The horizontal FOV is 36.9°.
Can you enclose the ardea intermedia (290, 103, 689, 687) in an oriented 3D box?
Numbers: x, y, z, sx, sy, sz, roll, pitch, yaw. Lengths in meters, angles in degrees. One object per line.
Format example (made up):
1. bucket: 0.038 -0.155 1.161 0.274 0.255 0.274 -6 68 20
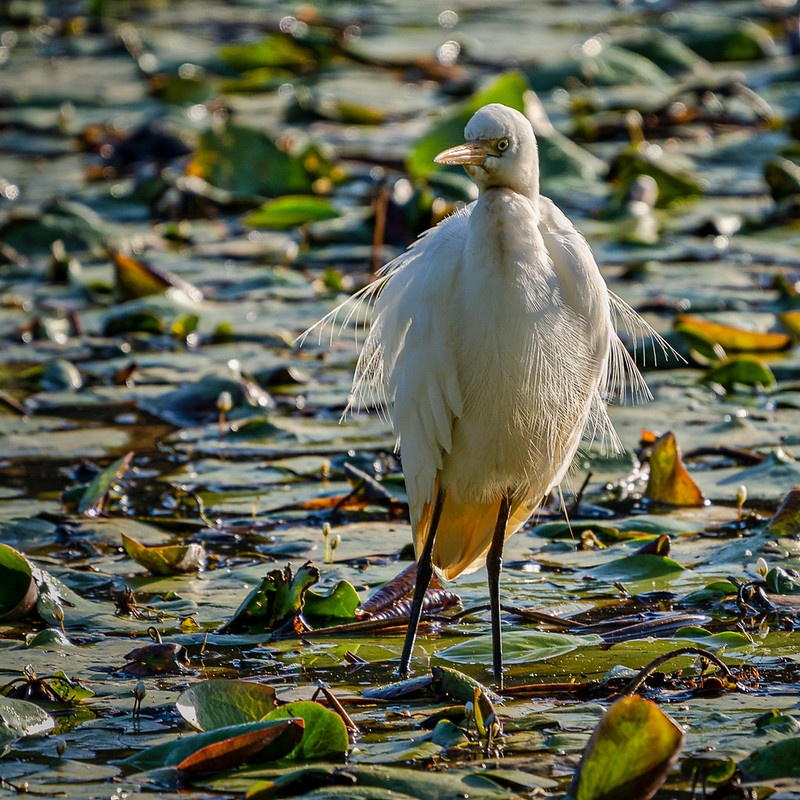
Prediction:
1. ardea intermedia: 0.235 -0.065 3.279 0.820 1.461 0.860 4 18 5
